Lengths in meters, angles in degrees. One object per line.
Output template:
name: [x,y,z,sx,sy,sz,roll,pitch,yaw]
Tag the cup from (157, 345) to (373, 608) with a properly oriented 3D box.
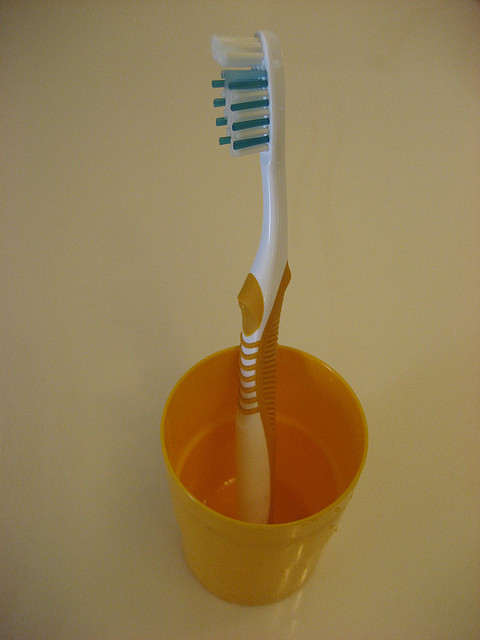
cup: [0.037,0.210,0.904,0.215,0.217,0.221,5,15,-1]
